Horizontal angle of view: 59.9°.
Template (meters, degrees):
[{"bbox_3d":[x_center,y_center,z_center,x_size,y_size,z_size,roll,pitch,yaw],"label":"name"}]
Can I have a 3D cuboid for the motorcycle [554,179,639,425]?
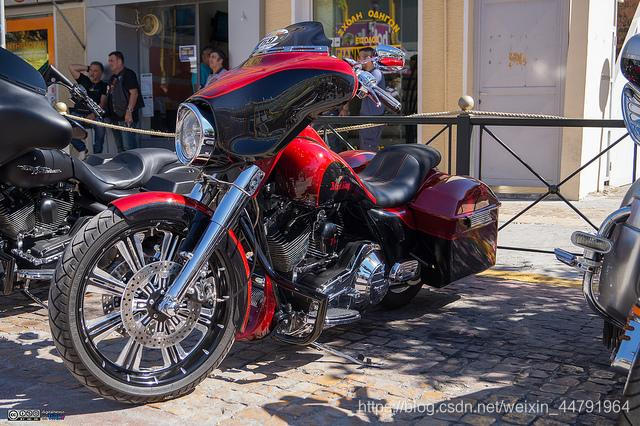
[{"bbox_3d":[1.513,0.460,3.413,0.649,1.280,0.968,1,1,42],"label":"motorcycle"}]

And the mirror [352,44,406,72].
[{"bbox_3d":[0.453,-1.060,3.814,0.240,0.165,0.147,2,13,8],"label":"mirror"}]
